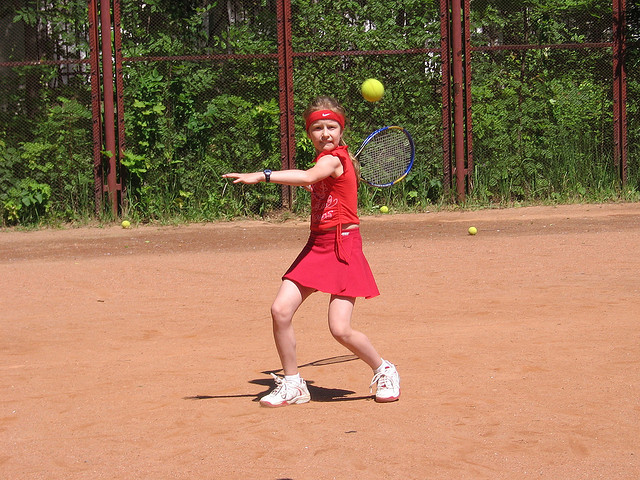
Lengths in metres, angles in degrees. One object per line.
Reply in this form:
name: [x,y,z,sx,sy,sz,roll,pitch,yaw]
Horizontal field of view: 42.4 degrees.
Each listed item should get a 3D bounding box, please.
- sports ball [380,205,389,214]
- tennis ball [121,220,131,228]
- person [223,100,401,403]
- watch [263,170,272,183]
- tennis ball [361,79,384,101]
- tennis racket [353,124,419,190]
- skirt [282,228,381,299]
sports ball: [0.922,-0.436,11.617,0.109,0.107,0.106,-1,9,0]
tennis ball: [-2.610,-0.214,11.108,0.103,0.086,0.082,-15,13,23]
person: [0.057,0.072,5.190,0.832,1.848,0.532,-3,14,-2]
watch: [-0.306,-0.369,4.916,0.056,0.086,0.090,1,44,-2]
tennis ball: [0.539,-1.444,8.065,0.205,0.200,0.205,12,38,-9]
tennis racket: [0.763,-0.737,9.164,0.661,1.079,0.229,5,3,-28]
skirt: [0.074,0.106,5.259,0.597,0.416,0.404,7,7,15]
